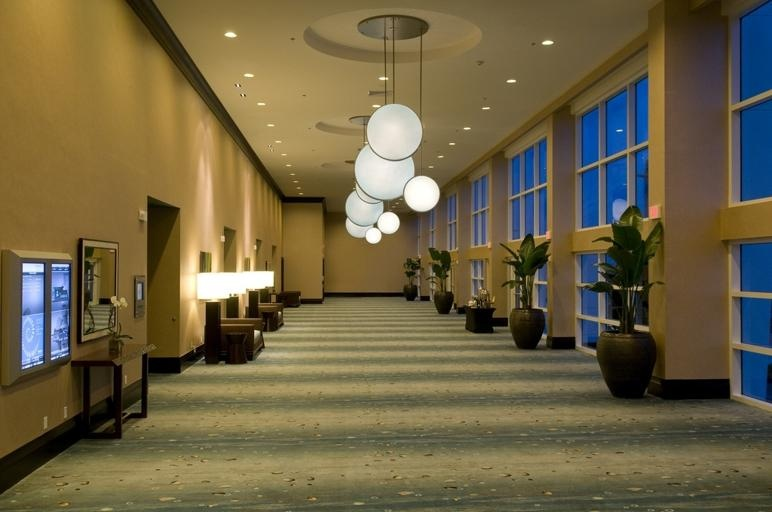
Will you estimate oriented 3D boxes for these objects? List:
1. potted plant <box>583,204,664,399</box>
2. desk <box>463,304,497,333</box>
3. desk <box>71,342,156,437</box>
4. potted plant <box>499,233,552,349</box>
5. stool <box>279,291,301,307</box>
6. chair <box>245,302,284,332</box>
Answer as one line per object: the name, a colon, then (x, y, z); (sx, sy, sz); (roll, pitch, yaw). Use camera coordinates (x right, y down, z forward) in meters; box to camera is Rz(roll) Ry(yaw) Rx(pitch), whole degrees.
potted plant: (4.130, 0.738, 9.295); (0.980, 3.123, 1.950); (2, 4, 27)
desk: (2.815, 1.933, 16.320); (0.620, 0.605, 1.185); (1, -2, -6)
desk: (-3.708, 1.829, 7.522); (0.734, 1.140, 1.178); (0, 4, -5)
potted plant: (3.676, 0.854, 14.462); (1.073, 2.889, 3.455); (1, 4, 12)
stool: (-4.375, 2.173, 25.279); (0.652, 0.662, 0.988); (1, -3, -3)
chair: (-3.599, 1.857, 16.397); (0.643, 0.774, 1.189); (0, 0, 0)
